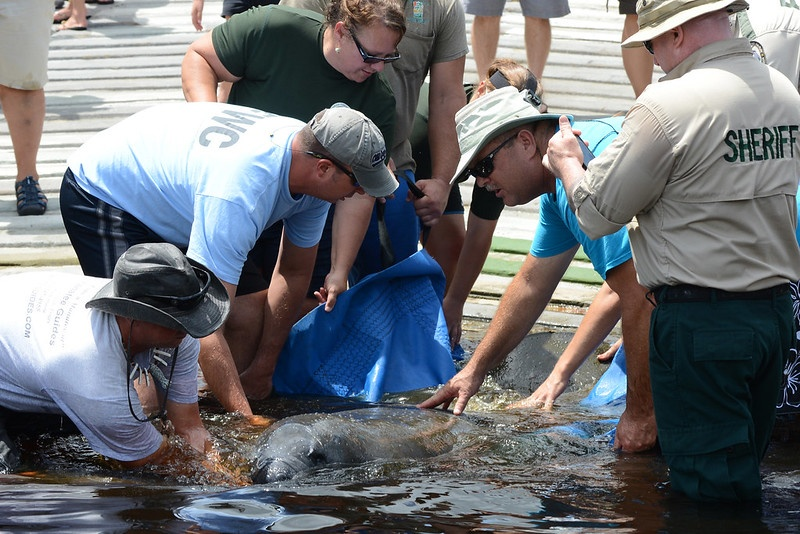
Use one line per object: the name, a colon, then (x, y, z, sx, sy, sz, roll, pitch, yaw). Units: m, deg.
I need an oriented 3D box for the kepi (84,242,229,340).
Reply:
kepi: (-1.120, 0.098, 6.096, 0.592, 0.255, 0.434, 18, 22, -7)

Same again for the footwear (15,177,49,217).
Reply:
footwear: (-2.591, -0.507, 9.083, 0.216, 0.275, 0.184, -6, 20, -18)

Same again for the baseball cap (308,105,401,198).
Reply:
baseball cap: (-0.207, -0.627, 6.711, 0.544, 0.258, 0.332, 32, 23, 3)

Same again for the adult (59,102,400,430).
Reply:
adult: (-0.975, -0.041, 7.081, 1.782, 2.017, 1.153, 15, 24, 15)
